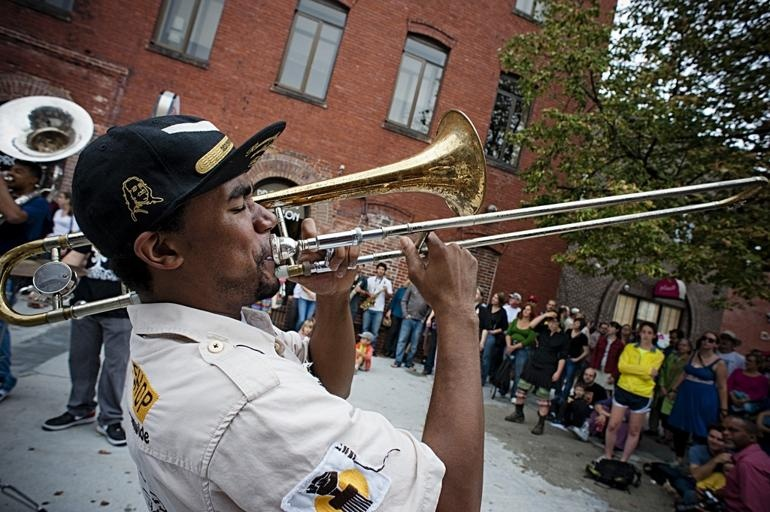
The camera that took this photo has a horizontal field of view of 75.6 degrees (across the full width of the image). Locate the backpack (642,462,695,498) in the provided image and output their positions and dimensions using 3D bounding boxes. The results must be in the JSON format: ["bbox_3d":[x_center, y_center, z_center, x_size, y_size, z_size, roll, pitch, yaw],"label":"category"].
[{"bbox_3d":[3.945,3.054,6.872,0.501,0.151,0.487,-7,1,-35],"label":"backpack"}]

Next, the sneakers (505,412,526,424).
[{"bbox_3d":[2.185,2.714,8.360,0.394,0.153,0.141,6,-3,0],"label":"sneakers"}]

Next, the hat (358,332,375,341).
[{"bbox_3d":[-0.326,1.473,9.062,0.248,0.074,0.158,16,4,-22],"label":"hat"}]

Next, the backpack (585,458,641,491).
[{"bbox_3d":[3.076,2.908,6.728,0.561,0.180,0.411,2,1,25],"label":"backpack"}]

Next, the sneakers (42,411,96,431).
[{"bbox_3d":[-3.274,1.704,5.147,0.408,0.132,0.136,7,-5,-37],"label":"sneakers"}]

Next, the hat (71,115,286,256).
[{"bbox_3d":[-1.153,-0.428,2.661,1.042,0.506,0.618,-32,15,1],"label":"hat"}]
